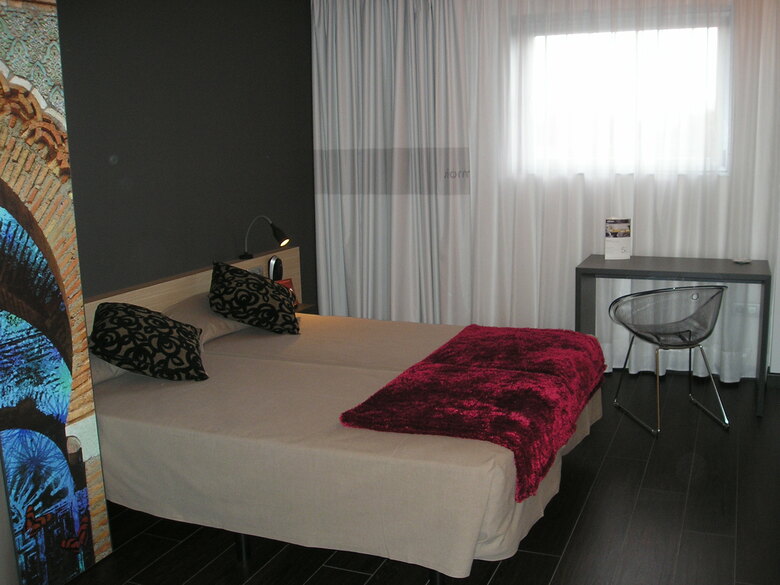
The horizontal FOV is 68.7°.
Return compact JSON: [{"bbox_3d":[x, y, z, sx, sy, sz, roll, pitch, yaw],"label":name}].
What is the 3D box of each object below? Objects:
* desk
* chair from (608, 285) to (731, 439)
[{"bbox_3d":[2.125,0.320,4.161,0.927,0.793,0.378,2,20,15],"label":"desk"},{"bbox_3d":[1.958,0.370,3.959,0.883,0.951,0.810,-3,13,-5],"label":"chair"}]
